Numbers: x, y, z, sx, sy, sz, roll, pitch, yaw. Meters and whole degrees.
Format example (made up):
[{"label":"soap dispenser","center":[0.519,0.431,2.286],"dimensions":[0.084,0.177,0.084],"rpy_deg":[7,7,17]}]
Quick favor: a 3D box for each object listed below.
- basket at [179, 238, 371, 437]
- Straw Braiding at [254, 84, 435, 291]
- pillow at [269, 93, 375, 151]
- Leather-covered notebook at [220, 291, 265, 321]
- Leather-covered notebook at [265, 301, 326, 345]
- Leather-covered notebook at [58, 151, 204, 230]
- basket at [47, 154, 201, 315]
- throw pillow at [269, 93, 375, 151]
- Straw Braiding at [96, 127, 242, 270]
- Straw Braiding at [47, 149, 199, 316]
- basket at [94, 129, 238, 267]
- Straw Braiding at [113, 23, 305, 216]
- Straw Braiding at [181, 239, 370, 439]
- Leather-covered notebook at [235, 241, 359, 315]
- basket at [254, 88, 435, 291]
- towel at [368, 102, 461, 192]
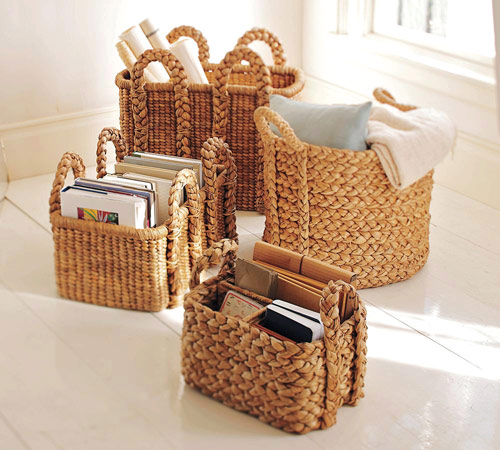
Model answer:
[{"label":"basket","center":[0.055,0.231,1.146],"dimensions":[0.309,0.264,0.417],"rpy_deg":[-19,25,-39]},{"label":"Straw Braiding","center":[0.286,-0.177,1.709],"dimensions":[0.615,0.523,0.624],"rpy_deg":[18,31,37]},{"label":"pillow","center":[0.228,-0.317,1.527],"dimensions":[0.227,0.139,0.343],"rpy_deg":[-8,23,-21]},{"label":"Leather-covered notebook","center":[-0.025,0.179,1.123],"dimensions":[0.076,0.064,0.017],"rpy_deg":[20,11,30]},{"label":"Leather-covered notebook","center":[0.092,0.194,1.028],"dimensions":[0.101,0.031,0.074],"rpy_deg":[18,9,23]},{"label":"Leather-covered notebook","center":[-0.354,-0.097,1.438],"dimensions":[0.311,0.118,0.269],"rpy_deg":[12,22,29]},{"label":"basket","center":[-0.396,-0.013,1.610],"dimensions":[0.507,0.406,0.457],"rpy_deg":[7,17,16]},{"label":"throw pillow","center":[0.228,-0.317,1.527],"dimensions":[0.227,0.139,0.343],"rpy_deg":[-8,23,-21]},{"label":"Straw Braiding","center":[-0.276,-0.154,1.858],"dimensions":[0.509,0.468,0.526],"rpy_deg":[8,21,20]},{"label":"Straw Braiding","center":[-0.309,-0.004,1.589],"dimensions":[0.488,0.415,0.462],"rpy_deg":[8,17,16]},{"label":"basket","center":[-0.283,-0.161,1.843],"dimensions":[0.501,0.460,0.513],"rpy_deg":[8,22,20]},{"label":"Straw Braiding","center":[-0.235,-0.486,2.061],"dimensions":[0.341,0.402,0.543],"rpy_deg":[-18,26,-41]},{"label":"Straw Braiding","center":[0.055,0.225,1.138],"dimensions":[0.398,0.262,0.280],"rpy_deg":[15,28,38]},{"label":"Leather-covered notebook","center":[0.109,0.103,1.182],"dimensions":[0.194,0.060,0.187],"rpy_deg":[17,13,25]},{"label":"basket","center":[0.296,-0.188,1.697],"dimensions":[0.613,0.527,0.625],"rpy_deg":[20,33,38]},{"label":"towel","center":[0.477,-0.236,1.519],"dimensions":[0.265,0.213,0.349],"rpy_deg":[9,23,21]}]
